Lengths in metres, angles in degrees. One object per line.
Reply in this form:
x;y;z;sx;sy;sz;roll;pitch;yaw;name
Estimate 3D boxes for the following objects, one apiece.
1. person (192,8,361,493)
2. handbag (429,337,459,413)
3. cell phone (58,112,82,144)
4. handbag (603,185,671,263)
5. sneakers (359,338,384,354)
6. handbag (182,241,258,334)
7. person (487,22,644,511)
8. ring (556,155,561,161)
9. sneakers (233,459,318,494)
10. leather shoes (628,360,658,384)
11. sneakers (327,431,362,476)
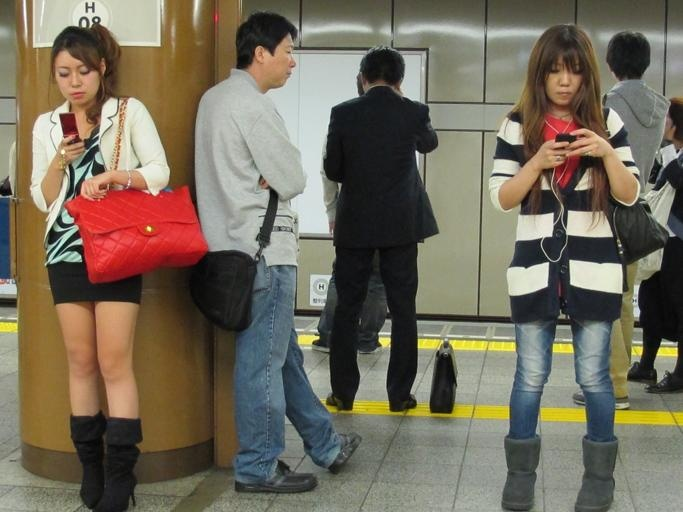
-0.387;-0.008;3.221;0.745;2.452;0.361;-1;3;-16;person
0.767;0.915;4.757;0.163;0.444;0.452;1;-1;7;handbag
-1.210;-0.572;2.812;0.080;0.125;0.104;-1;4;-20;cell phone
1.409;-0.123;3.018;0.268;0.316;0.172;2;4;18;handbag
0.277;0.880;6.217;0.091;0.129;0.288;2;8;21;sneakers
-0.588;0.136;3.079;0.364;0.400;0.221;11;-4;19;handbag
1.055;0.075;3.033;0.682;2.322;0.456;1;3;21;person
0.970;-0.445;2.830;0.019;0.021;0.005;-1;4;-3;ring
-0.344;1.154;3.243;0.406;0.196;0.164;-1;-1;-7;sneakers
2.497;0.964;5.256;0.271;0.144;0.121;4;5;27;leather shoes
0.021;1.096;3.548;0.088;0.117;0.281;-20;23;38;sneakers
